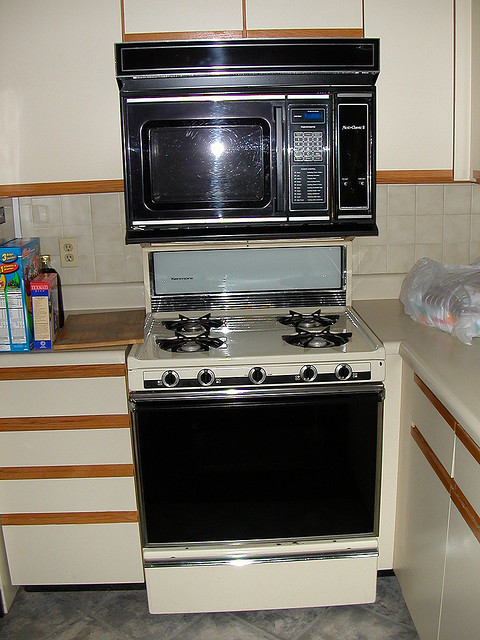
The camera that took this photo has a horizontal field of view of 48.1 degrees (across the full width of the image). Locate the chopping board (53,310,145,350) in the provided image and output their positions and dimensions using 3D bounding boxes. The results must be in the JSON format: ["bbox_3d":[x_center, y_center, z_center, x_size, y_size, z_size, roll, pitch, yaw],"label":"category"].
[{"bbox_3d":[-0.434,0.019,1.691,0.262,0.011,0.304,-3,19,-6],"label":"chopping board"}]

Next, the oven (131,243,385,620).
[{"bbox_3d":[0.046,0.303,1.698,0.686,0.983,0.538,-2,16,0],"label":"oven"}]

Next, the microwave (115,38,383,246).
[{"bbox_3d":[0.045,-0.504,1.630,0.718,0.522,0.425,1,10,8],"label":"microwave"}]
